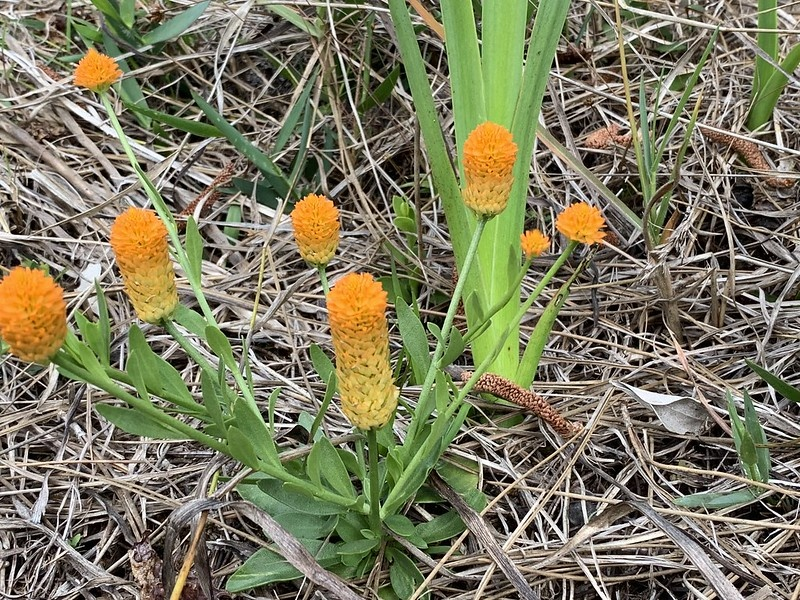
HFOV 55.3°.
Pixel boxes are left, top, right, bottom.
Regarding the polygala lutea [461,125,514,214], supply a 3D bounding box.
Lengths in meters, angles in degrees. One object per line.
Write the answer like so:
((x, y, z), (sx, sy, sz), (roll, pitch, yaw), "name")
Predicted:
((0.151, -0.205, 1.242), (0.080, 0.150, 0.079), (-9, 14, -38), "polygala lutea")

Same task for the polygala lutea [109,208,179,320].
((-0.416, -0.057, 1.264), (0.101, 0.189, 0.109), (-15, 9, 3), "polygala lutea")

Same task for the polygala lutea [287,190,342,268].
((-0.133, -0.115, 1.250), (0.093, 0.165, 0.103), (-3, 25, -5), "polygala lutea")
